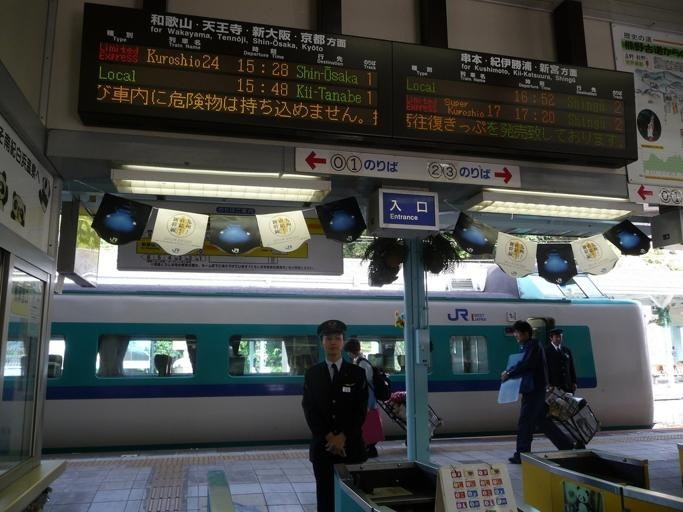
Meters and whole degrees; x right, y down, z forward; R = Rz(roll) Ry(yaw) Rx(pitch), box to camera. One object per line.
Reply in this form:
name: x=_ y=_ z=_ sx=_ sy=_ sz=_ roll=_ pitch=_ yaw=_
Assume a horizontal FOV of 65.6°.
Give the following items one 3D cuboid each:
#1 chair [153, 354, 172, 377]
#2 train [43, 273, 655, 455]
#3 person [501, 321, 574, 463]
chair: x=-3.248 y=2.020 z=9.753 sx=0.357 sy=0.392 sz=0.335 roll=4 pitch=-23 yaw=-9
train: x=-0.329 y=2.420 z=11.368 sx=13.531 sy=3.532 sz=2.435 roll=1 pitch=-5 yaw=-8
person: x=3.061 y=2.174 z=8.531 sx=0.857 sy=2.235 sz=0.533 roll=4 pitch=-9 yaw=-25
